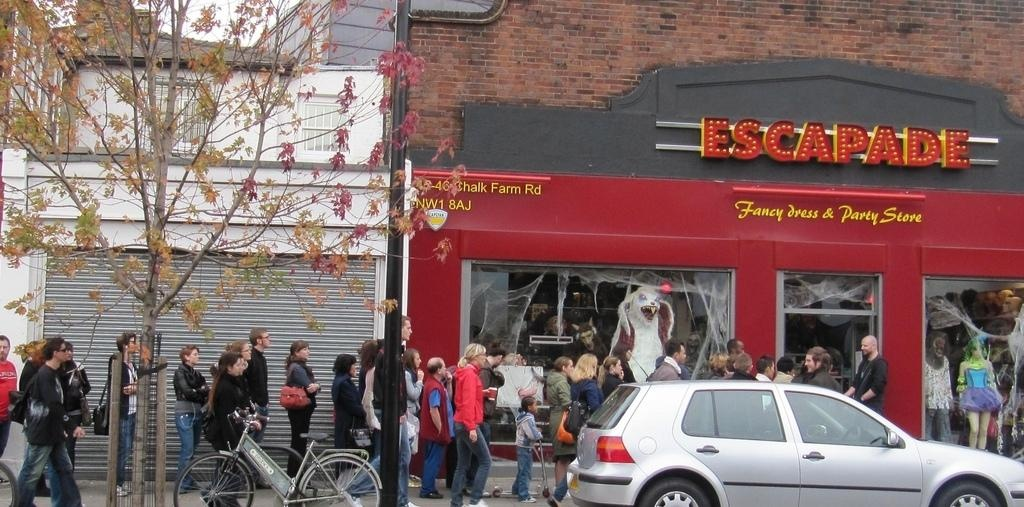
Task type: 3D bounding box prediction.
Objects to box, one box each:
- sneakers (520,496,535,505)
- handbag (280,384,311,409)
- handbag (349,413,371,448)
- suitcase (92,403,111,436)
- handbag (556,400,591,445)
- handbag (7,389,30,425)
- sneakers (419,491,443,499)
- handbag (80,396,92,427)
[{"bbox_3d":[0.315,5.284,39.132,0.332,0.129,0.130,-1,-2,-2],"label":"sneakers"},{"bbox_3d":[-4.721,3.126,39.808,0.890,0.714,0.454,2,-4,-6],"label":"handbag"},{"bbox_3d":[-3.214,3.846,38.548,0.535,0.432,0.288,-2,1,-36],"label":"handbag"},{"bbox_3d":[-8.910,3.489,39.393,0.336,0.632,0.719,2,0,-12],"label":"suitcase"},{"bbox_3d":[1.284,3.578,38.353,0.462,0.825,0.867,18,-7,3],"label":"handbag"},{"bbox_3d":[-10.302,3.190,38.004,0.337,0.666,0.757,5,-10,-22],"label":"handbag"},{"bbox_3d":[-1.766,5.223,39.483,0.507,0.169,0.171,1,0,-10],"label":"sneakers"},{"bbox_3d":[-9.092,3.373,38.900,0.320,0.691,0.800,1,-5,-15],"label":"handbag"}]
